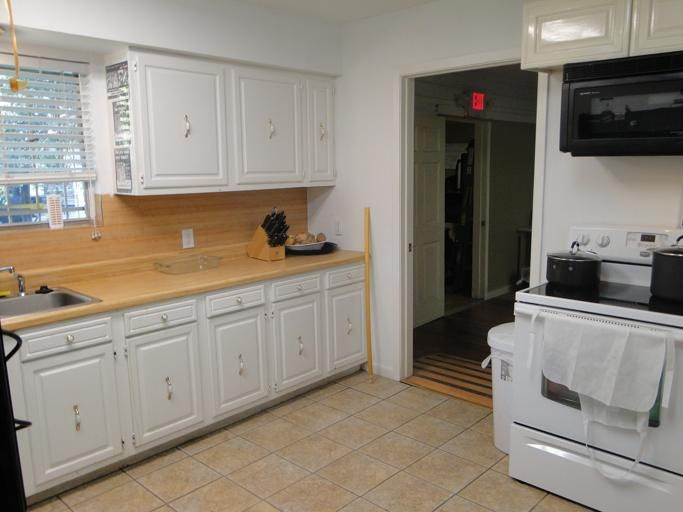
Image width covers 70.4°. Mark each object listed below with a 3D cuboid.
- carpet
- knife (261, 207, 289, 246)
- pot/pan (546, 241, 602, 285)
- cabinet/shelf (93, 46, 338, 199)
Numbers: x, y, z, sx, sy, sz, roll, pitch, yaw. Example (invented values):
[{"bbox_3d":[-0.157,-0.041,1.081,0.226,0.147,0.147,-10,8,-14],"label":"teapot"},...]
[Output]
[{"bbox_3d":[0.942,1.043,4.183,0.735,0.043,0.856,4,13,21],"label":"carpet"},{"bbox_3d":[-0.551,-0.242,3.979,0.120,0.309,0.227,3,40,-28],"label":"knife"},{"bbox_3d":[1.369,0.042,2.852,0.218,0.191,0.220,-1,6,2],"label":"pot/pan"},{"bbox_3d":[-0.991,-1.019,3.587,0.340,0.675,1.310,8,12,44],"label":"cabinet/shelf"}]
